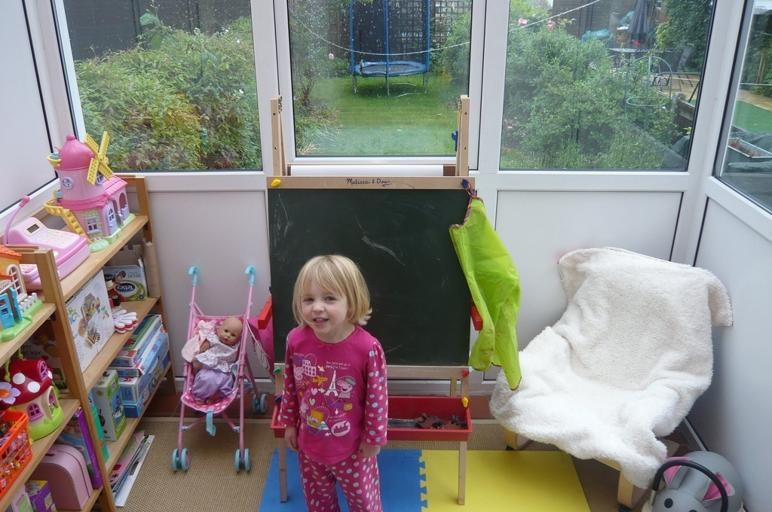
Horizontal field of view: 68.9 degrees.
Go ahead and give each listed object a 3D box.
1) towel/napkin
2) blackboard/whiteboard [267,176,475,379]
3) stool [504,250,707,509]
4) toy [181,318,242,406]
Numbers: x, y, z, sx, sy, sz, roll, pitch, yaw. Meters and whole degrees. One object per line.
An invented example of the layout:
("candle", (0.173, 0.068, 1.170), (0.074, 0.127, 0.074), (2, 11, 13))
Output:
("towel/napkin", (1.239, 0.586, 3.074), (1.120, 0.847, 1.322), (9, 24, 33))
("blackboard/whiteboard", (-0.082, 0.059, 2.751), (0.987, 0.930, 0.156), (-1, 10, -1))
("stool", (1.210, 0.577, 3.052), (1.071, 0.827, 1.321), (7, 24, 34))
("toy", (-0.997, 0.577, 3.325), (0.347, 0.213, 0.520), (15, 57, -28))
